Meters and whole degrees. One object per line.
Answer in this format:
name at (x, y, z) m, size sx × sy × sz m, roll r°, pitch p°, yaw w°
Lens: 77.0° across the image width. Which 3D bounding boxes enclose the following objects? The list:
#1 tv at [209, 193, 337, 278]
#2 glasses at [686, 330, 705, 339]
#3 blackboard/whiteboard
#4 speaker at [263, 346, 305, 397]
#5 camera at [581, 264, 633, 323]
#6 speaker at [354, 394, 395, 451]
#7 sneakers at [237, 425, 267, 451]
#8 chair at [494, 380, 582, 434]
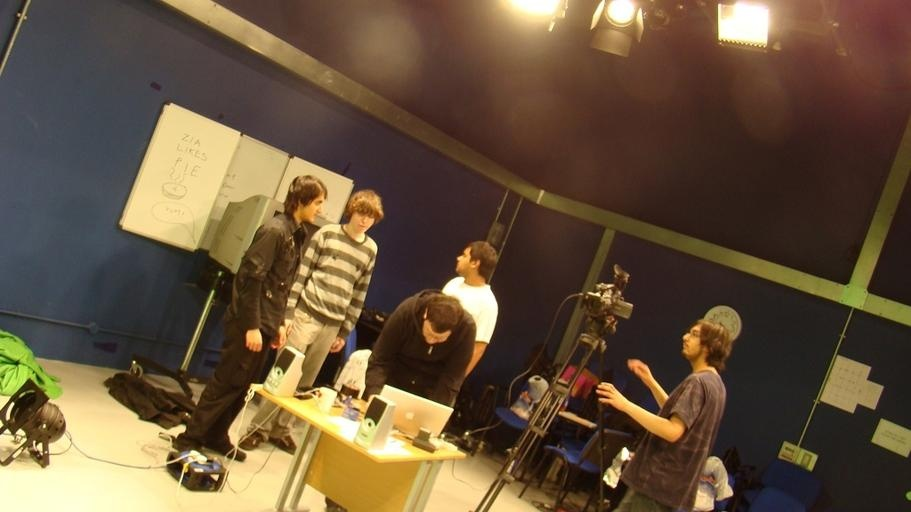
tv at (-2.533, -0.322, 7.082) m, size 1.033 × 0.772 × 1.063 m, roll 22°, pitch -2°, yaw 10°
glasses at (2.464, 0.811, 5.930) m, size 0.106 × 0.063 × 0.081 m, roll 24°, pitch 10°, yaw 2°
blackboard/whiteboard at (-2.876, -1.000, 7.171) m, size 1.911 × 1.132 × 0.140 m, roll 21°, pitch -4°, yaw -30°
speaker at (-1.633, 1.113, 5.546) m, size 0.303 × 0.477 × 0.192 m, roll 20°, pitch -6°, yaw -14°
camera at (1.702, 0.478, 6.365) m, size 0.490 × 0.807 × 0.634 m, roll 11°, pitch 16°, yaw 10°
speaker at (-0.728, 1.554, 5.312) m, size 0.274 × 0.437 × 0.283 m, roll 15°, pitch -5°, yaw 24°
sneakers at (-2.331, 2.118, 6.615) m, size 0.155 × 0.147 × 0.351 m, roll 17°, pitch -12°, yaw 4°
chair at (1.215, 2.214, 8.790) m, size 1.338 × 0.633 × 0.720 m, roll 14°, pitch 6°, yaw -10°
